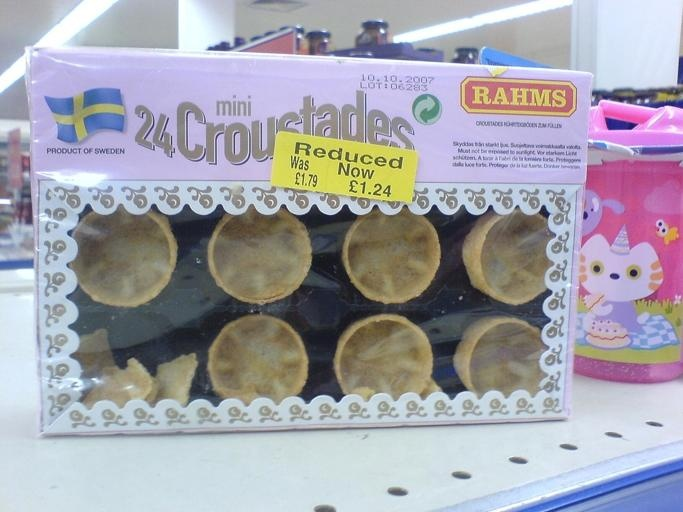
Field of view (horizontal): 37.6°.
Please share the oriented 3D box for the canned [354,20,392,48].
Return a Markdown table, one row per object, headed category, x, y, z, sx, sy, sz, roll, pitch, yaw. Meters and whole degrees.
| category | x | y | z | sx | sy | sz | roll | pitch | yaw |
| --- | --- | --- | --- | --- | --- | --- | --- | --- | --- |
| canned | 0.106 | -0.743 | 3.405 | 0.105 | 0.101 | 0.113 | 2 | 20 | 1 |
